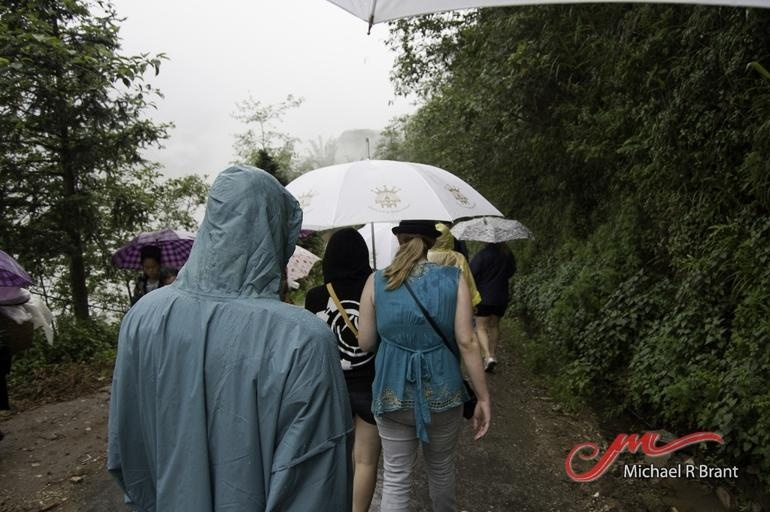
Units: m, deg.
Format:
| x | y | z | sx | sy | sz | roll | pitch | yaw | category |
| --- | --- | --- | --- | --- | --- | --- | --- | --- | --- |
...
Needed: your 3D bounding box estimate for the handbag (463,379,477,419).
| x | y | z | sx | sy | sz | roll | pitch | yaw | category |
| --- | --- | --- | --- | --- | --- | --- | --- | --- | --- |
| 0.807 | 1.374 | 5.479 | 0.196 | 0.110 | 0.305 | -6 | -44 | 7 | handbag |
